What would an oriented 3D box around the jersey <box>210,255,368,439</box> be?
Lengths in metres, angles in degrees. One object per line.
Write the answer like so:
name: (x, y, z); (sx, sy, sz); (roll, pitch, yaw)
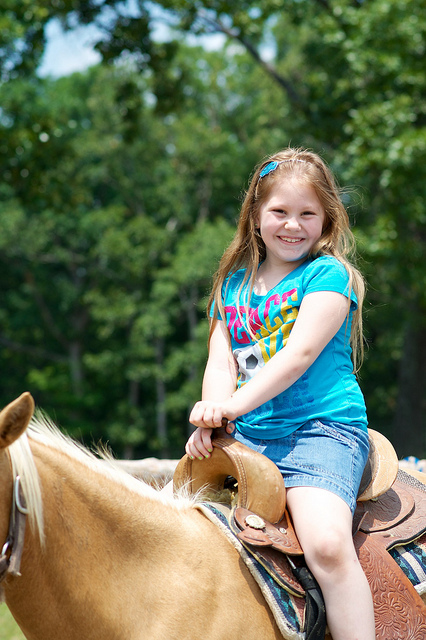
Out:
jersey: (0.261, 0.066, 2.532); (0.478, 0.567, 0.576); (-3, 19, 0)
